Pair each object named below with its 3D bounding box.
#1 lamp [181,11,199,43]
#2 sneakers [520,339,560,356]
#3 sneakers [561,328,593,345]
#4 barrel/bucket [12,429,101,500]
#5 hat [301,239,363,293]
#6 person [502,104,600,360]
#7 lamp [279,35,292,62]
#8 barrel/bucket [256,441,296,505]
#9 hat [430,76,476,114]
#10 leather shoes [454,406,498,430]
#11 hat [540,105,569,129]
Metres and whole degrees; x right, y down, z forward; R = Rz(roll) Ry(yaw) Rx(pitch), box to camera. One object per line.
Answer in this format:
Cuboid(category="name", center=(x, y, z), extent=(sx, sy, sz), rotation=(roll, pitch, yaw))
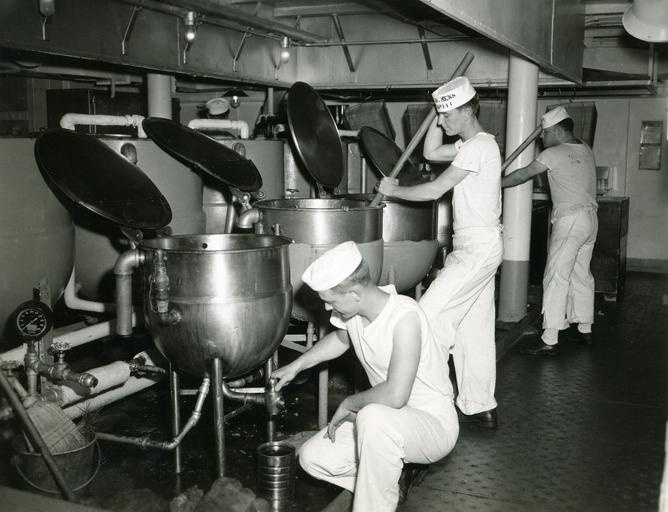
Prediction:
Cuboid(category="lamp", center=(-0.978, -1.558, 4.829), extent=(0.081, 0.188, 0.193), rotation=(-2, 13, -11))
Cuboid(category="sneakers", center=(1.547, 0.675, 5.319), extent=(0.236, 0.102, 0.123), rotation=(3, 1, 13))
Cuboid(category="sneakers", center=(1.955, 0.659, 5.713), extent=(0.094, 0.103, 0.235), rotation=(-6, 8, -33))
Cuboid(category="barrel/bucket", center=(-1.152, 0.869, 2.925), extent=(0.263, 0.178, 0.266), rotation=(9, 7, -1))
Cuboid(category="hat", center=(-0.006, 0.038, 2.841), extent=(0.220, 0.084, 0.171), rotation=(-30, 33, 11))
Cuboid(category="person", center=(1.747, -0.209, 5.478), extent=(0.556, 1.844, 0.971), rotation=(8, 15, 32))
Cuboid(category="lamp", center=(-0.387, -1.632, 5.606), extent=(0.061, 0.188, 0.216), rotation=(-1, 13, -7))
Cuboid(category="barrel/bucket", center=(-0.254, 1.007, 3.256), extent=(0.231, 0.263, 0.241), rotation=(0, 4, 0))
Cuboid(category="hat", center=(0.640, -0.860, 3.843), extent=(0.199, 0.108, 0.199), rotation=(-23, 27, 11))
Cuboid(category="leather shoes", center=(0.795, 0.901, 4.039), extent=(0.237, 0.118, 0.095), rotation=(8, 11, 34))
Cuboid(category="hat", center=(1.652, -1.049, 5.316), extent=(0.208, 0.084, 0.151), rotation=(-27, 23, -17))
